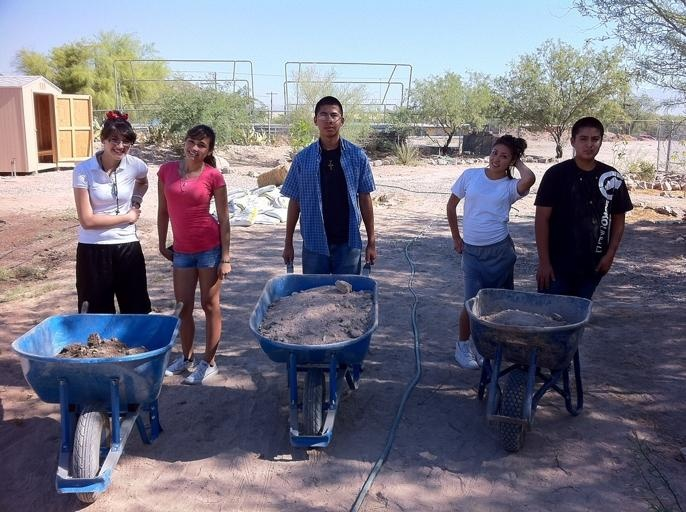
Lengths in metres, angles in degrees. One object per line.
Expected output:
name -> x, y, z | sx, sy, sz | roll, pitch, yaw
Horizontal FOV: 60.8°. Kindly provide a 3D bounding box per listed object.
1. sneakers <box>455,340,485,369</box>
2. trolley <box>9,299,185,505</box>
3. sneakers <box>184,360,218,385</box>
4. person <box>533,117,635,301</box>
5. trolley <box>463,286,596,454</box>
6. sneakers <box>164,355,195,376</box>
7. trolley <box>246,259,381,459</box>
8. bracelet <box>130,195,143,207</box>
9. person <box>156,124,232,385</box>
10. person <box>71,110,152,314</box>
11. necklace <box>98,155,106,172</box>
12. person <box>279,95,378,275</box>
sneakers -> 1.247, 1.007, 5.974 | 0.261, 0.157, 0.424 | 14, -6, -14
trolley -> -1.900, 1.064, 4.699 | 1.177, 1.010, 1.986 | 3, 10, -9
sneakers -> -1.363, 1.110, 5.553 | 0.131, 0.149, 0.372 | 2, -2, 18
person -> 2.098, -0.394, 5.116 | 0.802, 1.599, 0.433 | 4, 14, 15
trolley -> 1.505, 0.930, 4.879 | 0.979, 1.121, 1.178 | 6, 15, 24
sneakers -> -1.598, 1.065, 5.623 | 0.281, 0.129, 0.119 | 0, 9, -25
trolley -> -0.207, 0.772, 5.204 | 1.097, 0.930, 1.974 | 2, 24, 5
bracelet -> -1.890, -0.493, 5.272 | 0.093, 0.076, 0.102 | -2, 3, 3
person -> -1.393, 0.010, 5.381 | 0.669, 2.367, 0.449 | -1, 14, -5
person -> -2.055, -0.199, 5.154 | 0.688, 1.462, 0.333 | -9, 16, -32
necklace -> -2.089, -0.793, 4.980 | 0.028, 0.117, 0.066 | -20, -3, 26
person -> -0.151, -0.629, 5.450 | 0.883, 1.642, 0.388 | -2, 14, -6
